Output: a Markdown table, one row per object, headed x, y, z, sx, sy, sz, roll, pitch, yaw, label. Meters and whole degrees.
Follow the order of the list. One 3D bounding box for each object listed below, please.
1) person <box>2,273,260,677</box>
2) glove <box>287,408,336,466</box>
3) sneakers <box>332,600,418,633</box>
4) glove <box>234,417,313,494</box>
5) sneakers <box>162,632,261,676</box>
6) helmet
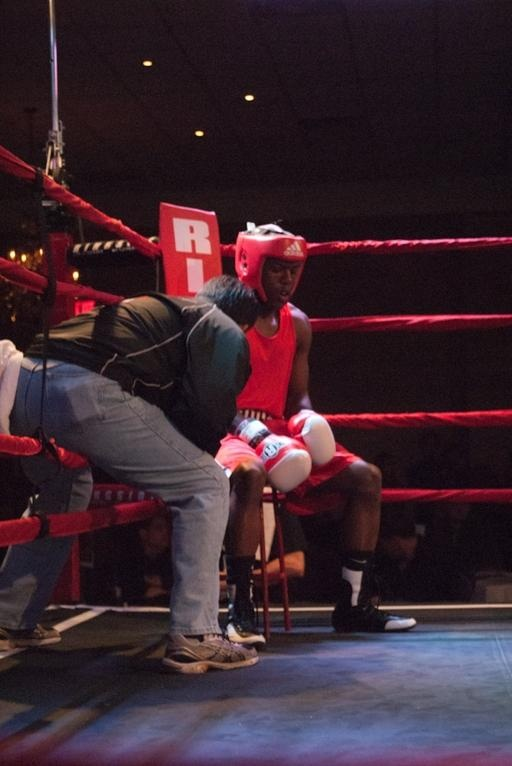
| x | y | z | sx | sy | sz | roll | pitch | yaw | label |
| --- | --- | --- | --- | --- | --- | --- | --- | --- | --- |
| -0.313 | 0.193 | 1.698 | 0.596 | 0.940 | 0.565 | 3 | -14 | -17 | person |
| 0.165 | 0.155 | 2.107 | 0.105 | 0.076 | 0.187 | -31 | 32 | 1 | glove |
| 0.341 | 0.708 | 2.081 | 0.284 | 0.102 | 0.089 | -4 | -16 | 14 | sneakers |
| 0.051 | 0.198 | 2.011 | 0.146 | 0.108 | 0.273 | -22 | 46 | -31 | glove |
| -0.105 | 0.587 | 1.478 | 0.227 | 0.095 | 0.081 | 4 | -12 | -18 | sneakers |
| 0.023 | -0.384 | 2.281 | 0.234 | 0.261 | 0.296 | 2 | -1 | -44 | helmet |
